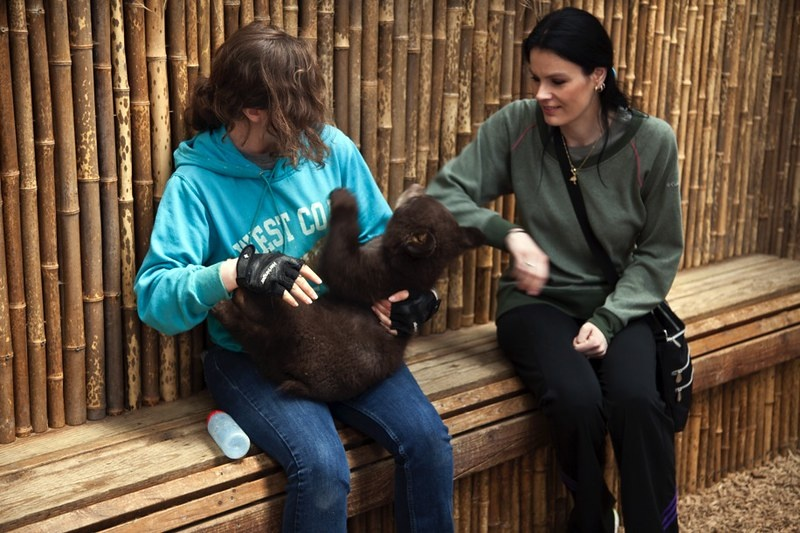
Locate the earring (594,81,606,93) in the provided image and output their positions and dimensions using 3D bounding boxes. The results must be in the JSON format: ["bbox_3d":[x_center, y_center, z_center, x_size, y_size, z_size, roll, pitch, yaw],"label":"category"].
[{"bbox_3d":[0.765,-0.690,2.694,0.030,0.046,0.038,-1,-13,-10],"label":"earring"}]

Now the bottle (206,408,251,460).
[{"bbox_3d":[-0.579,0.583,2.403,0.067,0.067,0.154,-39,30,-15],"label":"bottle"}]

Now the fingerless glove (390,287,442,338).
[{"bbox_3d":[0.049,0.145,2.389,0.163,0.138,0.073,-36,26,-19],"label":"fingerless glove"}]

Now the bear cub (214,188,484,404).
[{"bbox_3d":[-0.143,0.114,2.401,0.876,0.720,0.326,-13,11,9],"label":"bear cub"}]

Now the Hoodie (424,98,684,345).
[{"bbox_3d":[0.720,-0.158,3.179,1.235,1.258,0.851,9,26,24],"label":"Hoodie"}]

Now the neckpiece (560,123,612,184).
[{"bbox_3d":[0.702,-0.440,2.766,0.187,0.205,0.081,6,1,19],"label":"neckpiece"}]

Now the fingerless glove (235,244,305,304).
[{"bbox_3d":[-0.414,0.014,2.188,0.160,0.152,0.050,22,-18,3],"label":"fingerless glove"}]
